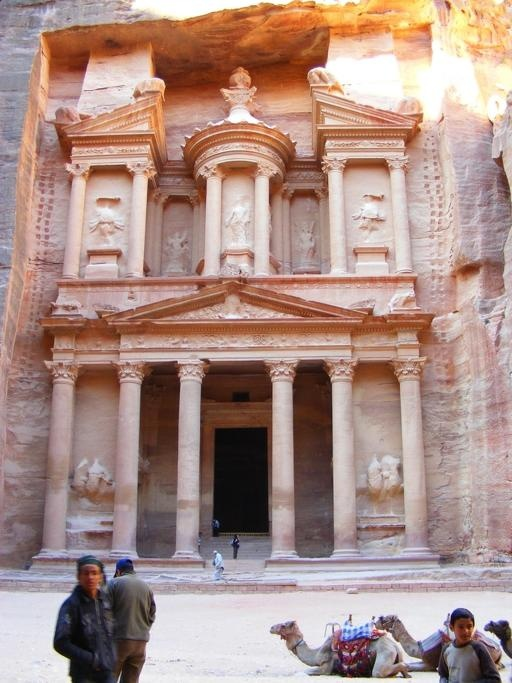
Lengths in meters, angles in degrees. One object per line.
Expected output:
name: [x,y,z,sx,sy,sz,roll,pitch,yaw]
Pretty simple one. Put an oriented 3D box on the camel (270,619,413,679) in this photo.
camel: [0.922,3.126,8.388,1.258,0.525,0.374,-6,-18,26]
